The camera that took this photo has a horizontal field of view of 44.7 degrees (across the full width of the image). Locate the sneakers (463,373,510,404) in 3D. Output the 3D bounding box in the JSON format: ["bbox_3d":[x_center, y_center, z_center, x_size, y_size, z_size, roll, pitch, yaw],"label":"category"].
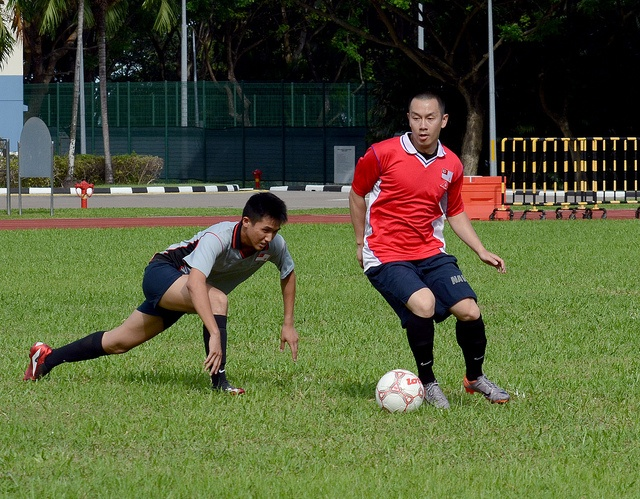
[{"bbox_3d":[1.165,0.954,5.525,0.334,0.161,0.139,11,23,33],"label":"sneakers"}]

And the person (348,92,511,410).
[{"bbox_3d":[0.767,-0.026,5.544,1.101,2.160,0.812,1,5,4],"label":"person"}]

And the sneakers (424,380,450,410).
[{"bbox_3d":[0.813,1.007,5.377,0.120,0.149,0.232,-1,6,-18],"label":"sneakers"}]

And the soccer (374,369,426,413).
[{"bbox_3d":[0.584,1.001,5.359,0.264,0.316,0.275,-5,6,21],"label":"soccer"}]

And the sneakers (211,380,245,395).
[{"bbox_3d":[-0.672,0.987,5.657,0.230,0.107,0.088,3,5,16],"label":"sneakers"}]
